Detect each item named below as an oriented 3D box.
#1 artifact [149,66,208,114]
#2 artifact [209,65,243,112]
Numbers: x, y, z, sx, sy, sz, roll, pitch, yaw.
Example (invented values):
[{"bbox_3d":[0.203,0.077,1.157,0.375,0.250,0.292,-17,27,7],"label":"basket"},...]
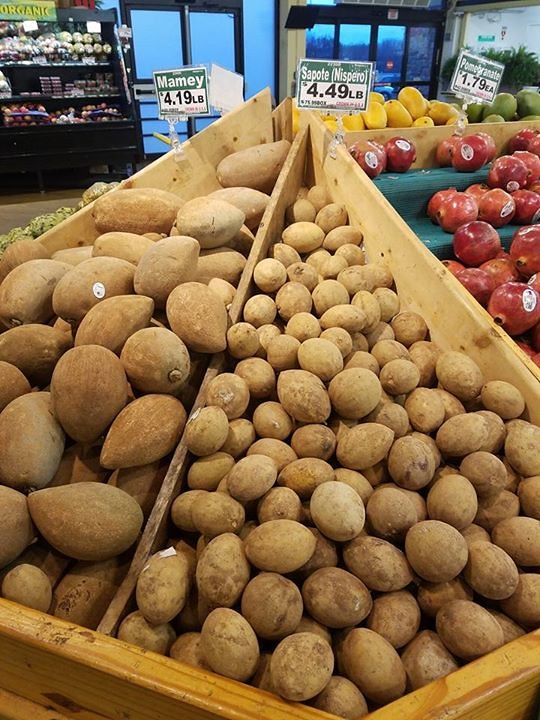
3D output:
[{"bbox_3d":[-0.458,-1.368,2.726,0.323,0.235,0.085,12,35,16],"label":"artifact"},{"bbox_3d":[-0.255,-1.587,3.168,0.201,0.286,0.398,-2,33,-3],"label":"artifact"}]
